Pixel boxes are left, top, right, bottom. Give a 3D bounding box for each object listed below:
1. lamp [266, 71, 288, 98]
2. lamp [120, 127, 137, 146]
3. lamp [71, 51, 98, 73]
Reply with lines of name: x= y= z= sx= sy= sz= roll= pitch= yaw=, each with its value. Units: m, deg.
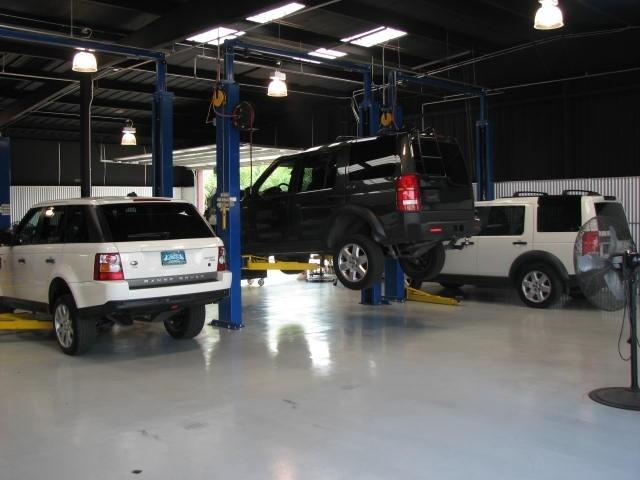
lamp: x=-0.919 y=-3.383 z=10.377 sx=0.351 sy=0.527 sz=0.571 roll=-1 pitch=2 yaw=-8
lamp: x=-6.484 y=-3.587 z=16.302 sx=0.373 sy=0.580 sz=0.877 roll=-1 pitch=3 yaw=-26
lamp: x=-4.272 y=-3.275 z=8.698 sx=0.347 sy=0.430 sz=0.413 roll=-2 pitch=3 yaw=-33
